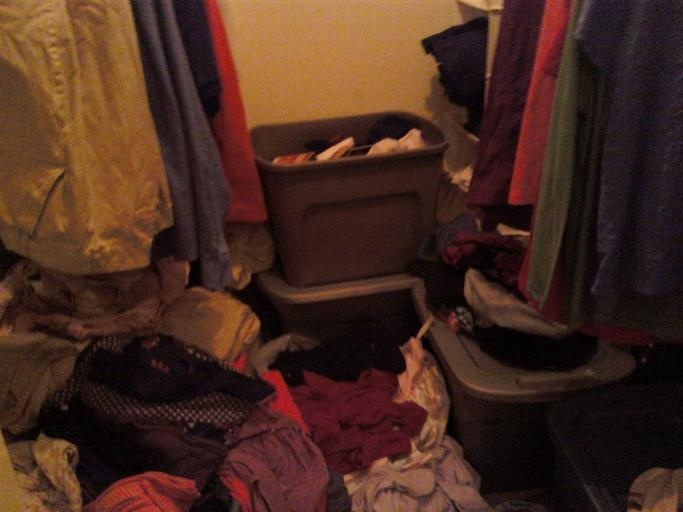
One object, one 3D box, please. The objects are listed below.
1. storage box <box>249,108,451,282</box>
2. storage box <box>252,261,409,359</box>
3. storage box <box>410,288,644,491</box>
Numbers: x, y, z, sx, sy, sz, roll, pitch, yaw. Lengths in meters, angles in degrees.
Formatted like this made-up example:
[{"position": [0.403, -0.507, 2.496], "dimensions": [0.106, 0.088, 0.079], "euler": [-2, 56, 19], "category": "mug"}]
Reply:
[{"position": [0.031, -0.256, 2.128], "dimensions": [0.735, 0.537, 0.593], "euler": [-1, 42, -8], "category": "storage box"}, {"position": [0.006, 0.161, 2.080], "dimensions": [0.393, 0.173, 0.278], "euler": [-6, 12, -12], "category": "storage box"}, {"position": [0.500, 0.400, 1.850], "dimensions": [0.357, 0.340, 0.524], "euler": [-3, 27, -7], "category": "storage box"}]
